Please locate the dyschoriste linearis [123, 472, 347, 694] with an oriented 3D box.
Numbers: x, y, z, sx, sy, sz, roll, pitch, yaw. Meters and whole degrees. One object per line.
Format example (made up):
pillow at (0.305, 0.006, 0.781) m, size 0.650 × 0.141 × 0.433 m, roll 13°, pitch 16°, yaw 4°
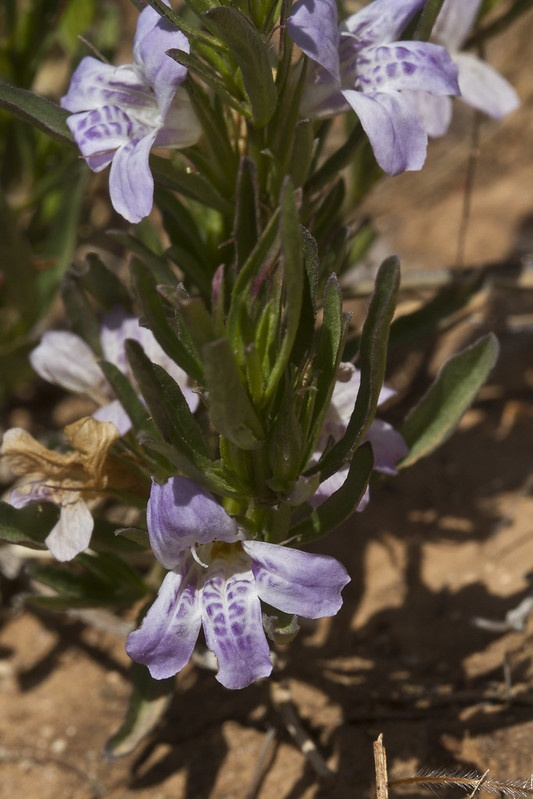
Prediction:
dyschoriste linearis at (-0.066, 0.266, 1.084) m, size 0.268 × 0.246 × 0.247 m, roll 25°, pitch 58°, yaw 27°
